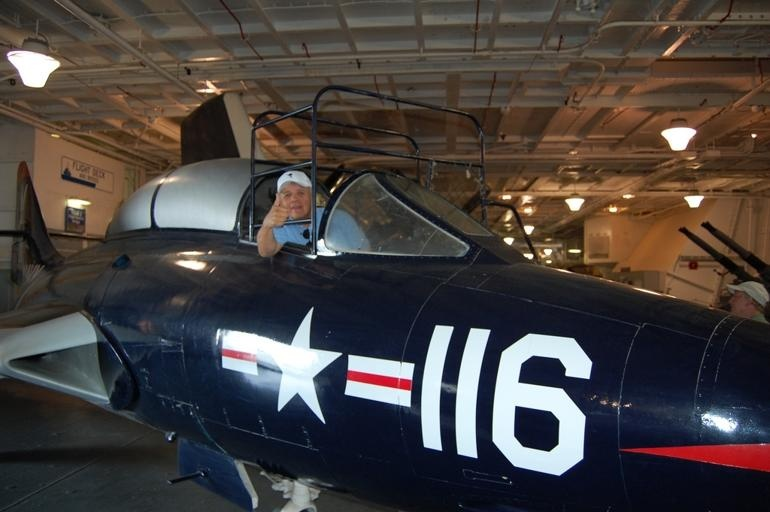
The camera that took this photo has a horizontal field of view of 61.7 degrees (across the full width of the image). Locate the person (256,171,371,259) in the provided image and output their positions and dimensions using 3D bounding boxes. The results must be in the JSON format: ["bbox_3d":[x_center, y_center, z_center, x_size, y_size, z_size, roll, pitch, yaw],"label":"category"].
[{"bbox_3d":[-0.753,-0.359,6.077,0.771,0.374,1.024,-16,44,-9],"label":"person"}]

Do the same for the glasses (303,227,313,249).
[{"bbox_3d":[-0.722,-0.181,6.020,0.057,0.186,0.132,-2,-8,6],"label":"glasses"}]

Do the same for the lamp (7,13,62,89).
[{"bbox_3d":[-5.339,-2.964,9.734,0.652,0.698,0.315,-5,13,-29],"label":"lamp"}]
